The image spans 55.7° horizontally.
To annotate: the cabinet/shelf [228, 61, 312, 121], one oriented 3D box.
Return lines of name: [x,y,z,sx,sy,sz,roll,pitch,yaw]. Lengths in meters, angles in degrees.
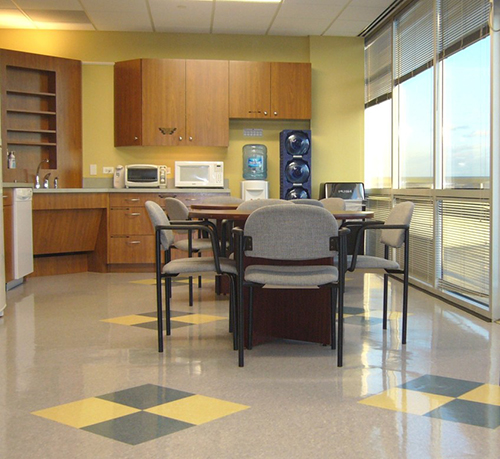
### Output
cabinet/shelf: [0.216,-1.811,6.139,0.948,0.482,0.309,0,2,-5]

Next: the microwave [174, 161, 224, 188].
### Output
microwave: [-0.663,-0.694,6.025,0.553,0.242,0.352,0,-1,-3]

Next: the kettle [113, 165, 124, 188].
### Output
kettle: [-1.666,-0.664,5.983,0.137,0.286,0.286,-3,7,-15]

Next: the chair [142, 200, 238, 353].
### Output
chair: [-0.354,0.278,2.984,0.634,0.824,0.535,1,0,1]

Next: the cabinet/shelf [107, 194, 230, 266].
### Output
cabinet/shelf: [-1.039,-0.002,6.101,1.523,1.182,0.790,0,-1,-4]

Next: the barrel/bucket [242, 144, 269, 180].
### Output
barrel/bucket: [0.057,-0.924,6.448,0.329,0.489,0.229,-1,7,0]

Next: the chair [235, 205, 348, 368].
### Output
chair: [0.202,0.297,2.580,0.719,0.765,0.638,-2,-5,20]

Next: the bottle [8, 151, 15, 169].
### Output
bottle: [-2.952,-0.850,5.820,0.074,0.220,0.160,-4,7,-23]

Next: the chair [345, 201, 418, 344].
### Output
chair: [1.040,0.195,3.864,0.499,0.905,2.323,1,6,18]

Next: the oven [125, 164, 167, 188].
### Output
oven: [-1.330,-0.660,5.931,0.510,0.260,0.313,0,-1,-10]

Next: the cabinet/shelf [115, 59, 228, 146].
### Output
cabinet/shelf: [-1.006,-1.642,6.040,1.340,0.829,0.476,0,1,-5]
